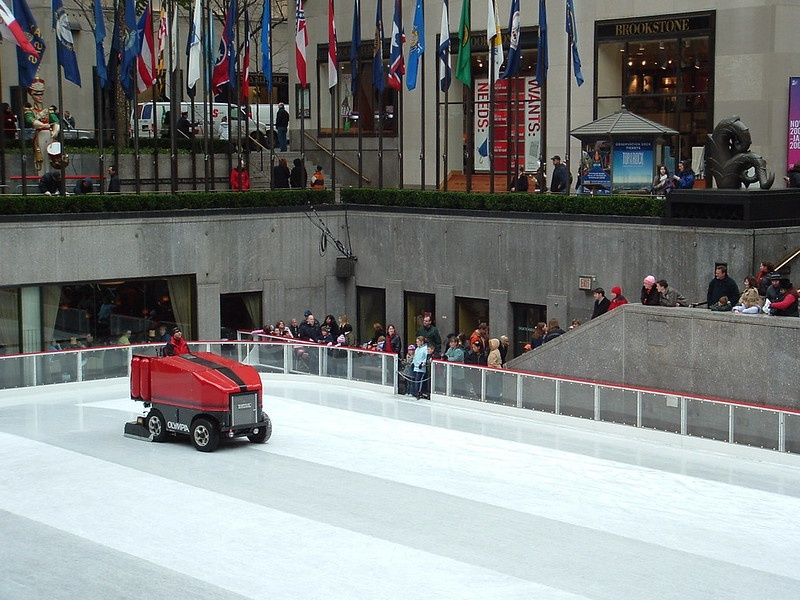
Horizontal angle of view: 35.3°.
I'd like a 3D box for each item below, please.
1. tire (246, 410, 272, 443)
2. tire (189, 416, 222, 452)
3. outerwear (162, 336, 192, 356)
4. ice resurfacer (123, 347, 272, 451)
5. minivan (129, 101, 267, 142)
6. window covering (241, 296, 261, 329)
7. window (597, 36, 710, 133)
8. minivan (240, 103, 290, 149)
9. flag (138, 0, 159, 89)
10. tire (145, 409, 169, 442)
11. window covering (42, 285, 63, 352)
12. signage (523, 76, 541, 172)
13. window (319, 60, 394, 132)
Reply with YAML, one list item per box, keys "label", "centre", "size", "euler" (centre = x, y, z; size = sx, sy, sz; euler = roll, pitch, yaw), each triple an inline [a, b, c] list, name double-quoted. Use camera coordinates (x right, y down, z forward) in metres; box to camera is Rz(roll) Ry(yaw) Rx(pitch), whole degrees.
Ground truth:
- label: "tire"
  centre: [-3.389, 3.013, 29.879]
  size: [0.753, 0.863, 0.301]
  euler: [-2, 1, 43]
- label: "tire"
  centre: [-4.554, 3.068, 29.312]
  size: [0.564, 0.648, 0.190]
  euler: [-36, -18, 34]
- label: "outerwear"
  centre: [-5.825, 1.225, 32.706]
  size: [0.385, 0.642, 0.687]
  euler: [-5, -2, 37]
- label: "ice resurfacer"
  centre: [-4.709, 2.274, 29.922]
  size: [3.030, 2.134, 1.905]
  euler: [2, 2, 37]
- label: "minivan"
  centre: [-7.648, -6.504, 49.263]
  size: [5.177, 1.998, 1.948]
  euler: [-3, -20, -27]
- label: "window covering"
  centre: [-5.092, 0.352, 42.595]
  size: [0.768, 1.559, 0.137]
  euler: [-11, 8, -33]
- label: "window"
  centre: [8.662, -7.286, 42.060]
  size: [3.664, 4.405, 0.168]
  euler: [3, 5, 40]
- label: "minivan"
  centre: [-6.007, -6.920, 50.883]
  size: [2.891, 1.936, 1.871]
  euler: [-3, 11, -10]
- label: "flag"
  centre: [-8.476, -8.383, 41.729]
  size: [0.626, 2.968, 3.052]
  euler: [-3, 14, -12]
- label: "tire"
  centre: [-5.811, 2.990, 30.078]
  size: [0.255, 0.795, 0.699]
  euler: [-3, -1, -40]
- label: "window covering"
  centre: [-10.965, 0.466, 38.998]
  size: [0.413, 1.927, 0.120]
  euler: [-4, 10, -41]
- label: "signage"
  centre: [4.959, -6.528, 46.662]
  size: [0.801, 4.264, 0.065]
  euler: [-4, 44, 1]
- label: "window"
  centre: [-2.267, -8.286, 51.863]
  size: [0.851, 2.781, 2.702]
  euler: [8, 8, 34]
